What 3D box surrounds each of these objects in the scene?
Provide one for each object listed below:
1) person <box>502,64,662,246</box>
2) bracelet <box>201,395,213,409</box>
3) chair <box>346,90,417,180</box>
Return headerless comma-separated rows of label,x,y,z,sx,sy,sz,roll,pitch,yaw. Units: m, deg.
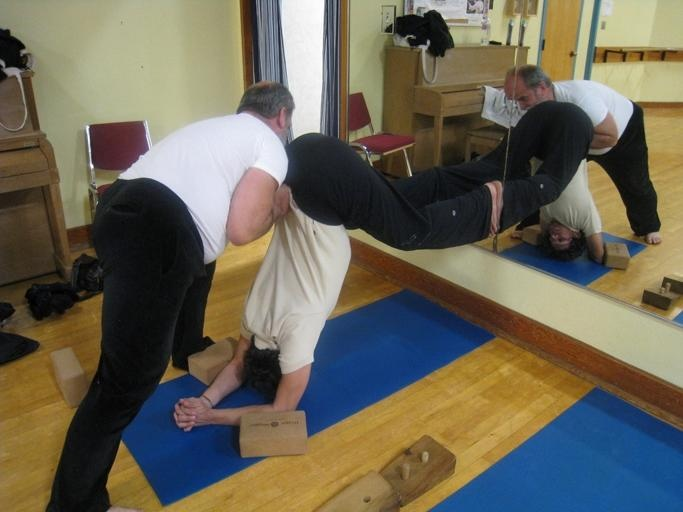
person,1.370,-0.609,2.942,0.737,1.077,0.450,5,40,31
bracelet,-0.696,0.754,2.722,0.025,0.068,0.050,-37,2,-22
chair,0.250,-0.900,4.152,0.543,0.801,0.483,9,26,40
